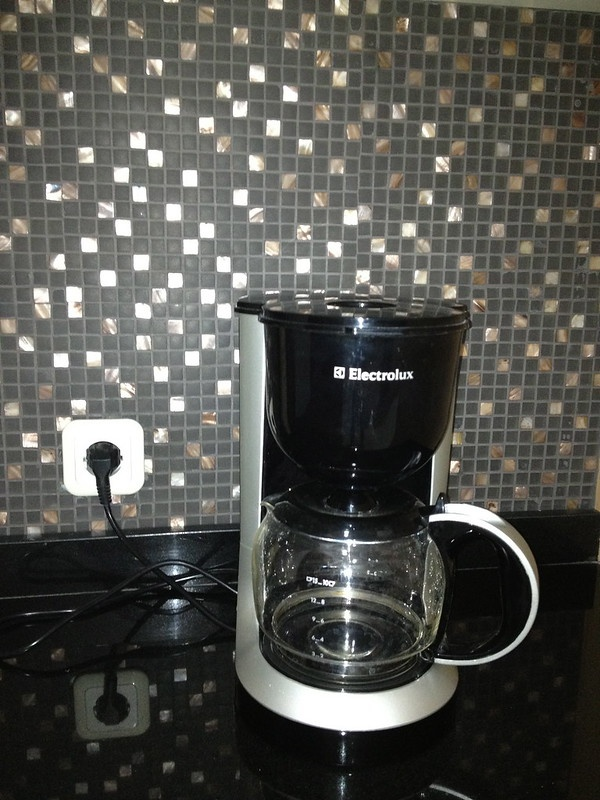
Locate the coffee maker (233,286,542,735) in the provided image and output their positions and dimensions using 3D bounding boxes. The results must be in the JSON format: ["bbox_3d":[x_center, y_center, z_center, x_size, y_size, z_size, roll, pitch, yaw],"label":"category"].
[{"bbox_3d":[0.055,0.074,0.600,0.196,0.353,0.262,-19,27,-41],"label":"coffee maker"}]

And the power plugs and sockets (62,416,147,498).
[{"bbox_3d":[-0.208,0.051,0.772,0.074,0.088,0.020,-1,5,-8],"label":"power plugs and sockets"}]
